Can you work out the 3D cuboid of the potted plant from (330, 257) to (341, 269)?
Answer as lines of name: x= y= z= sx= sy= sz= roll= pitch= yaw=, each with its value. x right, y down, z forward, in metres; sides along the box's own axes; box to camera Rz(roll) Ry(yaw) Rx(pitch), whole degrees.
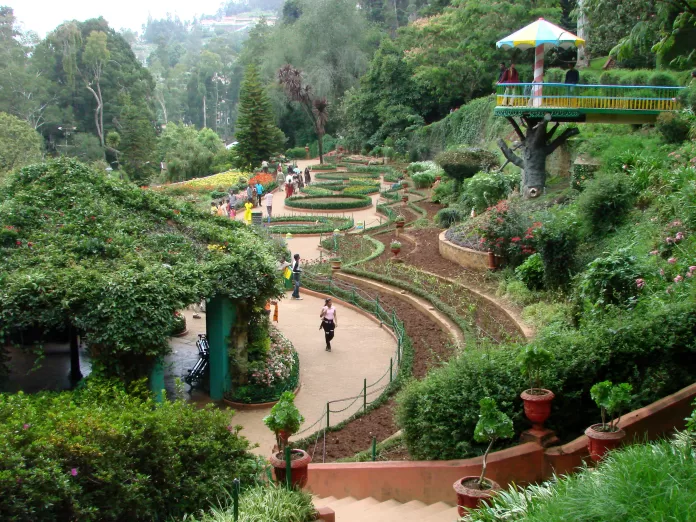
potted plant: x=-0.426 y=0.116 z=19.882 sx=0.303 sy=0.349 sz=0.302 roll=-5 pitch=7 yaw=-41

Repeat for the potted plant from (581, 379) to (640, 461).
potted plant: x=2.974 y=1.847 z=6.896 sx=0.391 sy=0.891 sz=0.477 roll=6 pitch=-4 yaw=-44

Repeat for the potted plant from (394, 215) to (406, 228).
potted plant: x=1.850 y=-1.432 z=22.239 sx=0.453 sy=0.618 sz=0.435 roll=4 pitch=15 yaw=14

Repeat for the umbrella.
umbrella: x=6.381 y=-6.808 z=19.906 sx=2.430 sy=2.342 sz=2.456 roll=-18 pitch=31 yaw=-24

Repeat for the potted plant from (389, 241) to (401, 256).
potted plant: x=1.474 y=-0.398 z=19.063 sx=0.407 sy=0.519 sz=0.415 roll=-2 pitch=11 yaw=-8

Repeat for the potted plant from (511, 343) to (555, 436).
potted plant: x=2.365 y=1.594 z=7.545 sx=0.411 sy=1.121 sz=0.542 roll=0 pitch=5 yaw=18

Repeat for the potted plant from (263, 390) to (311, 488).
potted plant: x=-0.731 y=2.169 z=7.181 sx=0.459 sy=1.091 sz=0.475 roll=-4 pitch=-18 yaw=9

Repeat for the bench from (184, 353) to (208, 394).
bench: x=-3.272 y=2.357 z=12.968 sx=0.496 sy=0.606 sz=1.143 roll=-3 pitch=5 yaw=-15
